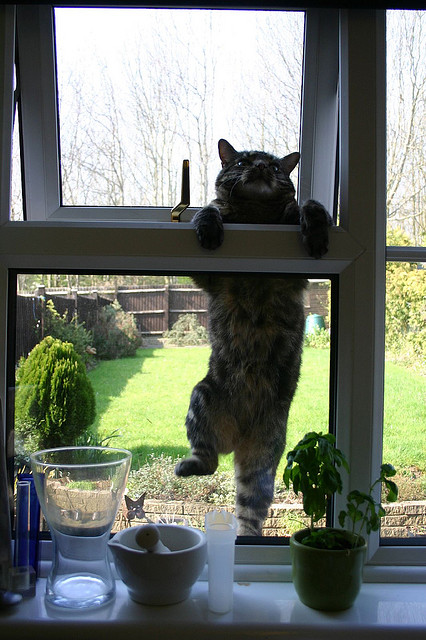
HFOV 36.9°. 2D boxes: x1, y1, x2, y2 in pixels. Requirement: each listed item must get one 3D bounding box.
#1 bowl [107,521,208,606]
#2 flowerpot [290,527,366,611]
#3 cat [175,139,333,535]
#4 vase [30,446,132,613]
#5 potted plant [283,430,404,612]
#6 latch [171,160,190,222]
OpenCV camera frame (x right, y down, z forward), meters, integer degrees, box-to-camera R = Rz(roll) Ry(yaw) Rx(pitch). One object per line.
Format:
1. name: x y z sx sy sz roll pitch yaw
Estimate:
1. bowl: -0.097 0.412 1.123 0.150 0.110 0.150 0 0 0
2. flowerpot: 0.200 0.432 1.138 0.108 0.100 0.119 0 -8 3
3. cat: 0.073 0.027 1.378 0.317 0.834 0.341 -1 5 -5
4. vase: -0.243 0.383 1.188 0.154 0.255 0.162 1 -3 40
5. potted plant: 0.213 0.346 1.135 0.171 0.310 0.136 6 1 10
6. latch: -0.068 -0.254 1.301 0.041 0.148 0.031 -1 -16 -1
